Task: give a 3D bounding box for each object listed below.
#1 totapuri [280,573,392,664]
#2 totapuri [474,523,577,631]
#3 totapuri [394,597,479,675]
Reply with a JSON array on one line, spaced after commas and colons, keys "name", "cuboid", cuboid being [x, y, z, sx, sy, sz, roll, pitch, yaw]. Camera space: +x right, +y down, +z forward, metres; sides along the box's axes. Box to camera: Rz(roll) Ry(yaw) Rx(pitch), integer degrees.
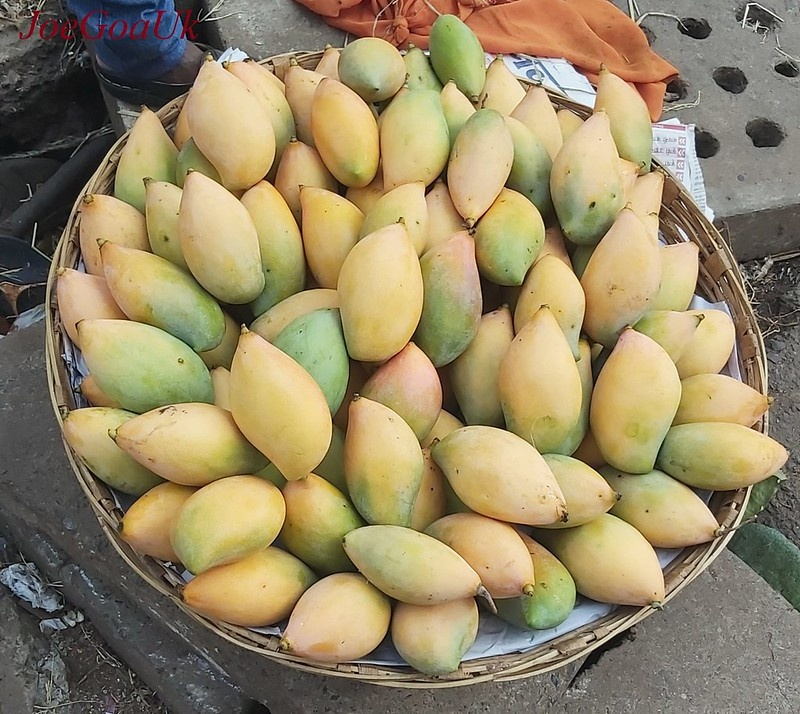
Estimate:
[{"name": "totapuri", "cuboid": [-0.088, 0.399, 1.319, 0.132, 0.120, 0.134, 16, 57, 9]}, {"name": "totapuri", "cuboid": [0.204, 0.358, 1.426, 0.138, 0.112, 0.223, -12, 27, -5]}, {"name": "totapuri", "cuboid": [0.055, 0.422, 1.317, 0.138, 0.113, 0.097, 0, 56, -2]}]
